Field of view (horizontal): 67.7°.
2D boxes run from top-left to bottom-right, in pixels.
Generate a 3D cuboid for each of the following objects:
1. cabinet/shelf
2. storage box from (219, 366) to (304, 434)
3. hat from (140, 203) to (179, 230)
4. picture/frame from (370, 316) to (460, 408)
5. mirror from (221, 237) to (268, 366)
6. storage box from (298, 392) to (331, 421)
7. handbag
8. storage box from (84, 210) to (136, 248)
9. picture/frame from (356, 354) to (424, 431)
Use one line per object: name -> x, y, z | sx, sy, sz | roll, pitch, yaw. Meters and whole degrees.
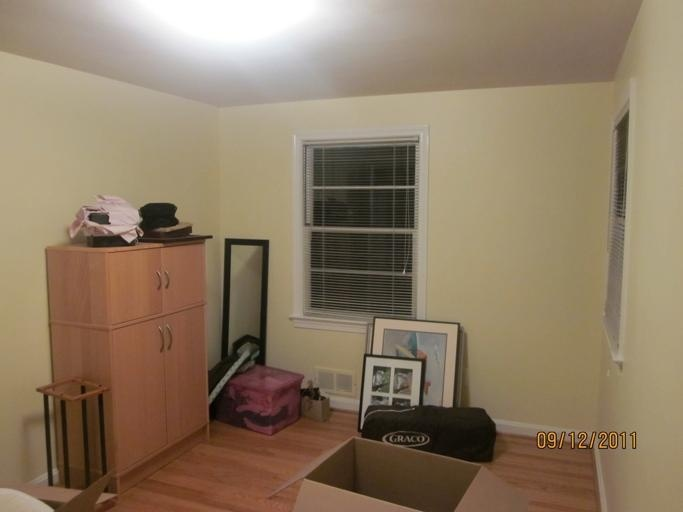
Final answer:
cabinet/shelf -> -1.532, 0.686, 3.823 | 0.628, 1.663, 1.013 | 7, 16, 28
storage box -> -0.759, 1.283, 4.610 | 0.667, 0.408, 0.514 | 4, 4, 31
hat -> -1.376, -0.325, 3.867 | 0.216, 0.157, 0.215 | -10, 14, -43
picture/frame -> 0.641, 0.914, 4.265 | 0.719, 0.759, 0.031 | 0, -15, 17
mirror -> -0.925, 0.452, 4.922 | 0.438, 1.265, 0.051 | 3, 10, 0
storage box -> -0.224, 1.347, 4.564 | 0.230, 0.235, 0.174 | -1, 0, 29
handbag -> 0.691, 1.316, 3.906 | 0.807, 0.255, 0.510 | 3, -2, 14
storage box -> -1.580, -0.175, 3.424 | 0.080, 0.235, 0.248 | 0, -3, 43
picture/frame -> 0.418, 1.118, 4.146 | 0.623, 0.796, 0.038 | 1, -19, 13
